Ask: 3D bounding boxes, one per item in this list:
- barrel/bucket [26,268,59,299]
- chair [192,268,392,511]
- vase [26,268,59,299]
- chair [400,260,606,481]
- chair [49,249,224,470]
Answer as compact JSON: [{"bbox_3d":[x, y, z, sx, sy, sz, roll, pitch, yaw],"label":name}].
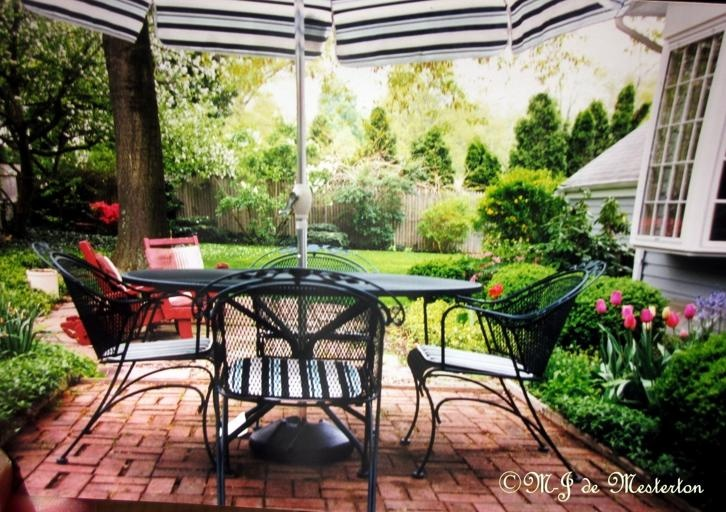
[{"bbox_3d":[-3.317,0.287,5.706,0.264,0.327,0.283,1,-4,0],"label":"barrel/bucket"},{"bbox_3d":[-0.410,0.670,3.924,1.357,2.128,1.338,1,22,-3],"label":"chair"},{"bbox_3d":[-3.311,0.285,5.698,0.266,0.327,0.282,0,-4,18],"label":"vase"},{"bbox_3d":[1.024,0.751,4.153,1.221,1.666,1.099,5,1,-1],"label":"chair"},{"bbox_3d":[-1.725,0.678,4.153,1.308,1.543,1.306,-3,1,9],"label":"chair"}]
